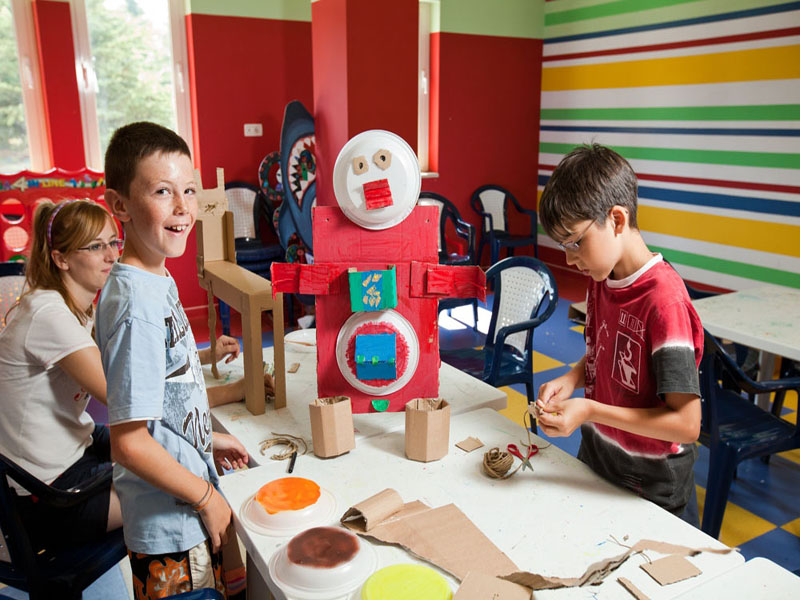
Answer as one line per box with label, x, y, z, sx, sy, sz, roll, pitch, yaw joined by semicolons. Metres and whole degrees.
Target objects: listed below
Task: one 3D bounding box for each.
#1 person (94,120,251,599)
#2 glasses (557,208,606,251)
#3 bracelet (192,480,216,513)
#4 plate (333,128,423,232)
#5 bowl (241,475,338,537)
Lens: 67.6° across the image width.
person;-0.601;0.236;1.598;0.352;1.365;0.390;-4;16;-11
glasses;0.486;-0.186;1.607;0.092;0.028;0.089;-38;-3;-21
bracelet;-0.490;0.504;1.536;0.017;0.066;0.065;24;-29;-27
plate;-0.074;-0.380;1.909;0.270;0.307;0.089;-2;16;-7
bowl;-0.302;0.536;1.601;0.231;0.046;0.233;0;18;0
